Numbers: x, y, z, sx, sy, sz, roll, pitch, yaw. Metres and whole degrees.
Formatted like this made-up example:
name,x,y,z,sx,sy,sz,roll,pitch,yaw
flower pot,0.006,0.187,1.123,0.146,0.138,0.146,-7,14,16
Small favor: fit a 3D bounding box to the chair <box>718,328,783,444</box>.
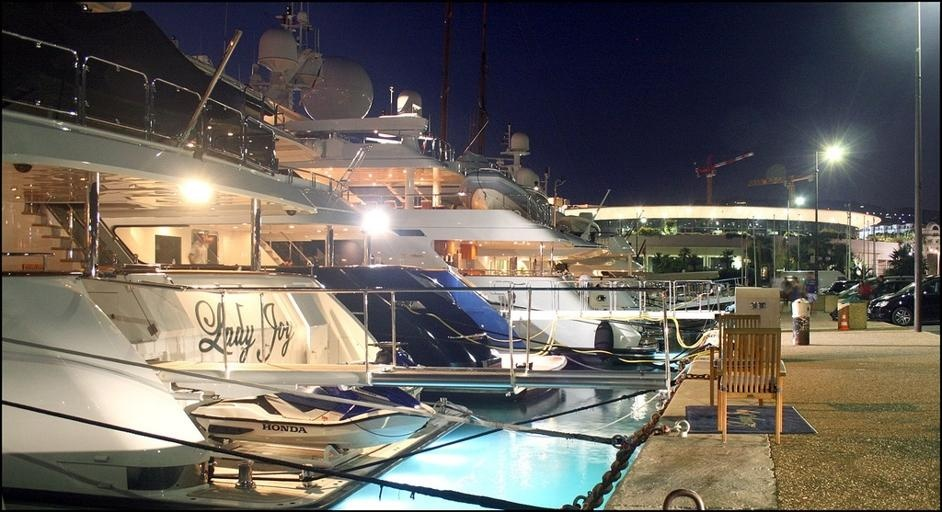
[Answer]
name,x,y,z,sx,sy,sz,roll,pitch,yaw
chair,5.737,2.601,18.752,1.467,2.126,1.671,0,-5,19
